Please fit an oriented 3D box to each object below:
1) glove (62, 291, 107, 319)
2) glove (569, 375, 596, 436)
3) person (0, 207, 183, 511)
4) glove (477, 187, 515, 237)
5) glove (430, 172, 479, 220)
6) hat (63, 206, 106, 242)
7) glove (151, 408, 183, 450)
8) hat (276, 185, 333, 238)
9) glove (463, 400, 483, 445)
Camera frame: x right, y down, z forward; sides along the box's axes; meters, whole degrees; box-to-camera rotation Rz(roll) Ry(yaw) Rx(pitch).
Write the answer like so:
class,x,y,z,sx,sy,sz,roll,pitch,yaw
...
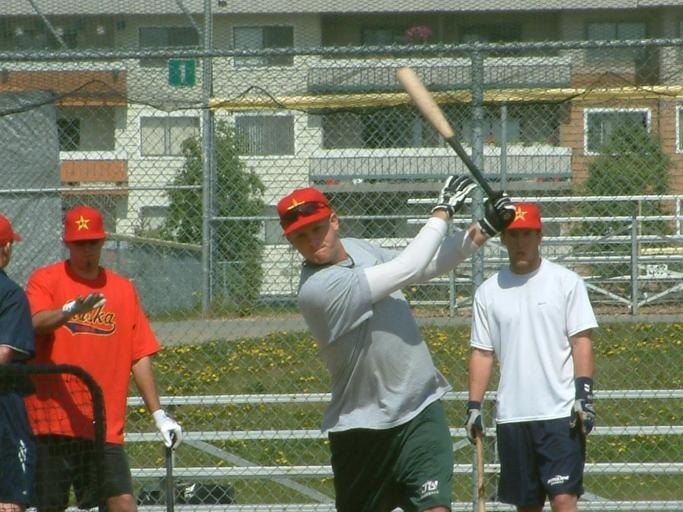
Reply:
class,x,y,z,sx,sy,sz,roll,pitch,yaw
glove,-2.528,0.484,17.420,0.349,0.093,0.216,-11,27,29
glove,2.384,1.491,17.690,0.246,0.462,0.160,-4,-2,0
person,-2.510,1.027,17.615,1.474,3.075,0.949,-2,-3,-43
glove,1.487,-0.433,17.232,0.409,0.162,0.301,-43,-6,-17
glove,1.081,-0.539,17.329,0.321,0.469,0.174,35,-13,19
hat,-2.603,-0.335,17.902,0.446,0.299,0.555,-6,20,-10
glove,-1.738,1.721,17.789,0.122,0.235,0.396,17,23,-49
hat,-0.402,-0.476,17.357,0.565,0.360,0.652,-26,11,-3
glove,1.312,1.666,17.875,0.143,0.365,0.278,2,-34,-9
